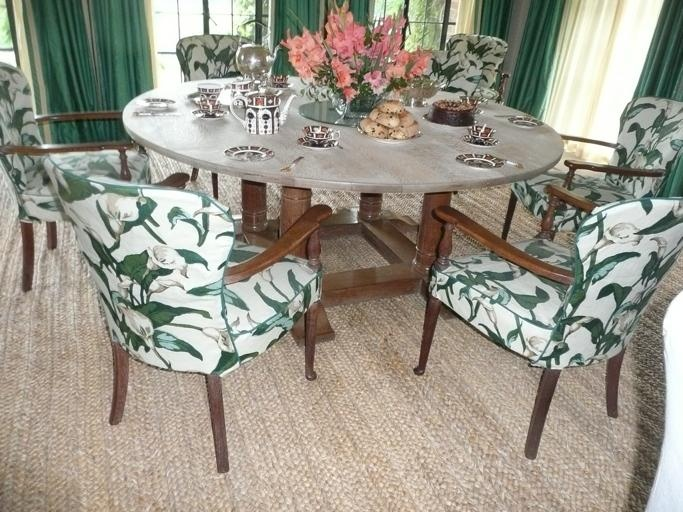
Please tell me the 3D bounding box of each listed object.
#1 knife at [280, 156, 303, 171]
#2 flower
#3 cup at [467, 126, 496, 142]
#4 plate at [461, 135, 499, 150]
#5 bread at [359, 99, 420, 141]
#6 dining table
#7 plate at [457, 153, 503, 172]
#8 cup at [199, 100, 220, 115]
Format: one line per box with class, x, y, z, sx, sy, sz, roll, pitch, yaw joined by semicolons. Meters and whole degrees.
knife;-0.185;-0.326;1.807;0.032;0.017;0.121;17;33;14
flower;0.081;-0.881;2.248;0.578;0.393;0.573;24;40;33
cup;0.605;-0.509;2.145;0.098;0.059;0.092;-1;39;1
plate;0.597;-0.465;2.138;0.107;0.018;0.094;-10;30;-18
bread;0.205;-0.537;2.103;0.232;0.095;0.193;7;36;5
dining table;-0.110;-0.387;2.431;1.842;0.762;1.588;-7;36;-15
plate;0.536;-0.351;1.934;0.167;0.029;0.135;20;31;36
cup;-0.586;-0.627;2.205;0.080;0.050;0.073;5;42;-5
